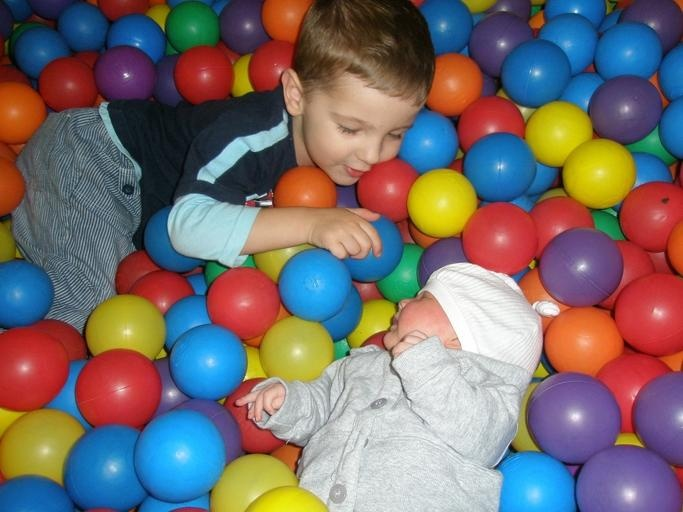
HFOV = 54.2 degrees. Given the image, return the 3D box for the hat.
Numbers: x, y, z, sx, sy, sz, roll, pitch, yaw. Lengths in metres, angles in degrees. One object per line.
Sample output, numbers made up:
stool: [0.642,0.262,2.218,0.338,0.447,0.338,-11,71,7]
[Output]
hat: [0.603,0.229,2.785,0.517,0.198,0.377,48,45,1]
